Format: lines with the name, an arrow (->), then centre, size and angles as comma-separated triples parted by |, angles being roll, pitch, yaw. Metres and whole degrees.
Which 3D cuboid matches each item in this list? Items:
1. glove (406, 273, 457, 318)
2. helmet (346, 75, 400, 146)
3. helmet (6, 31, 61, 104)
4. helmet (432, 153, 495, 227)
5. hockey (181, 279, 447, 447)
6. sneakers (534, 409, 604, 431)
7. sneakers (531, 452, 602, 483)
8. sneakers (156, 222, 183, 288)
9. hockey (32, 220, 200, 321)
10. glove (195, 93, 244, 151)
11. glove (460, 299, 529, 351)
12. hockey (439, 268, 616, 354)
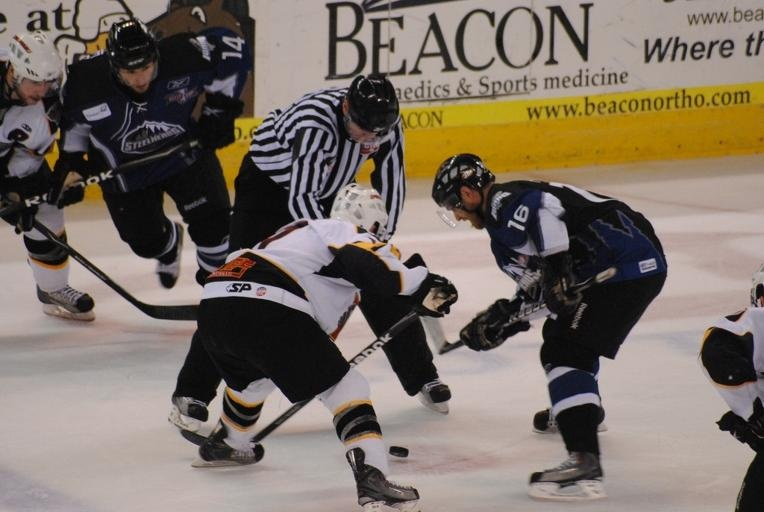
glove -> 0.259, 0.170, 4.768 | 0.246, 0.171, 0.235 | -16, 18, -32
helmet -> -0.019, -0.778, 5.194 | 0.263, 0.295, 0.290 | -20, -14, -22
helmet -> -1.954, -1.060, 5.639 | 0.237, 0.364, 0.256 | 14, 24, 43
helmet -> 0.418, -0.345, 5.181 | 0.380, 0.335, 0.273 | -17, 5, -5
hockey -> -0.332, 0.546, 4.914 | 1.517, 0.205, 0.204 | -27, -11, 2
sneakers -> 1.014, 0.872, 5.289 | 0.395, 0.169, 0.138 | 0, 7, 5
sneakers -> 0.848, 1.019, 4.812 | 0.429, 0.184, 0.122 | 2, -10, 5
sneakers -> -1.341, 0.001, 6.443 | 0.160, 0.435, 0.189 | -1, 32, 4
hockey -> -1.678, 0.115, 6.367 | 1.067, 0.142, 0.141 | 28, 55, 3
glove -> -0.980, -0.818, 6.036 | 0.283, 0.329, 0.145 | 15, -6, -12
glove -> 0.577, 0.373, 5.226 | 0.370, 0.160, 0.219 | -20, 26, 14
hockey -> 0.779, 0.306, 5.210 | 1.076, 0.118, 0.118 | -23, 25, 27
